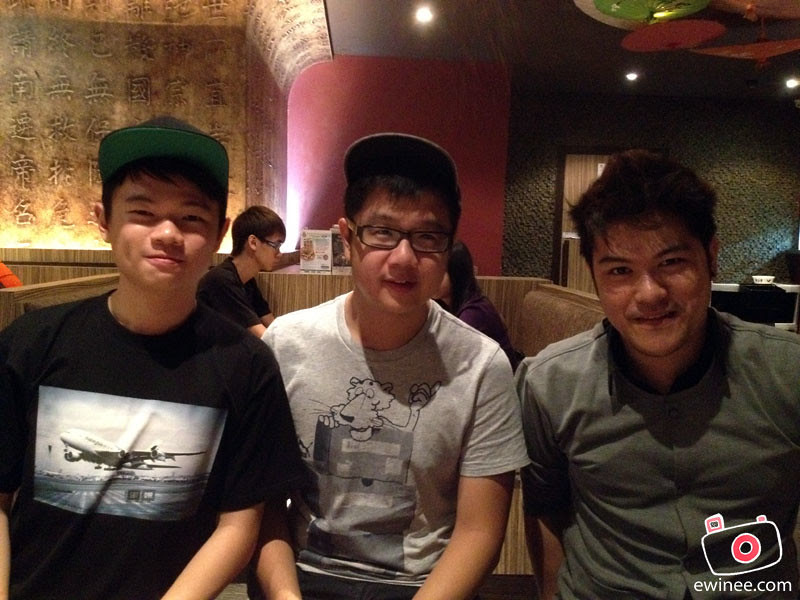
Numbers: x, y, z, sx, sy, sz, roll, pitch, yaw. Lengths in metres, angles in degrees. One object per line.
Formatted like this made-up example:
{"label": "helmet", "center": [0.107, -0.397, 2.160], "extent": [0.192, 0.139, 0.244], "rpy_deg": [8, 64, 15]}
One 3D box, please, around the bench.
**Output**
{"label": "bench", "center": [-0.016, 0.282, 4.299], "extent": [3.685, 1.801, 1.672], "rpy_deg": [1, 26, 0]}
